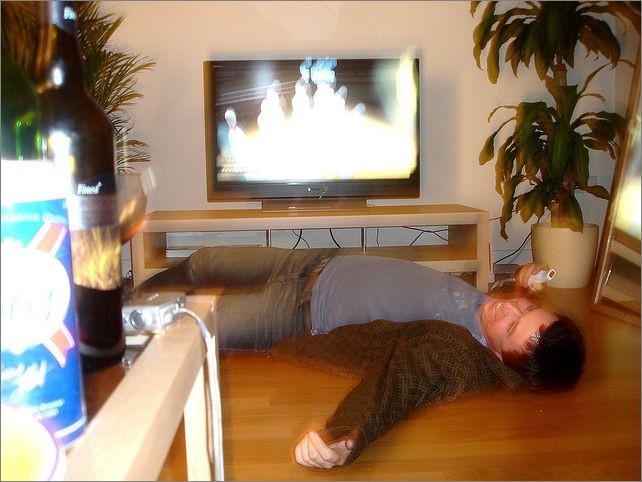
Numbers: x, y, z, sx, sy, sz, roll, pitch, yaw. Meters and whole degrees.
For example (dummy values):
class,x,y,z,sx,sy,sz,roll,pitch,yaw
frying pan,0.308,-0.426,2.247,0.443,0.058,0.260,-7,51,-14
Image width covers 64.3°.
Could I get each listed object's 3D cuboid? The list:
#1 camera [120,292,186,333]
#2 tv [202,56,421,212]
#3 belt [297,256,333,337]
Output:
class,x,y,z,sx,sy,sz,roll,pitch,yaw
camera,-0.184,0.068,0.542,0.036,0.018,0.050,2,18,-1
tv,-0.017,-0.610,2.787,1.147,0.769,0.104,-1,-2,0
belt,0.004,0.186,1.824,0.050,0.227,0.156,6,-3,8
